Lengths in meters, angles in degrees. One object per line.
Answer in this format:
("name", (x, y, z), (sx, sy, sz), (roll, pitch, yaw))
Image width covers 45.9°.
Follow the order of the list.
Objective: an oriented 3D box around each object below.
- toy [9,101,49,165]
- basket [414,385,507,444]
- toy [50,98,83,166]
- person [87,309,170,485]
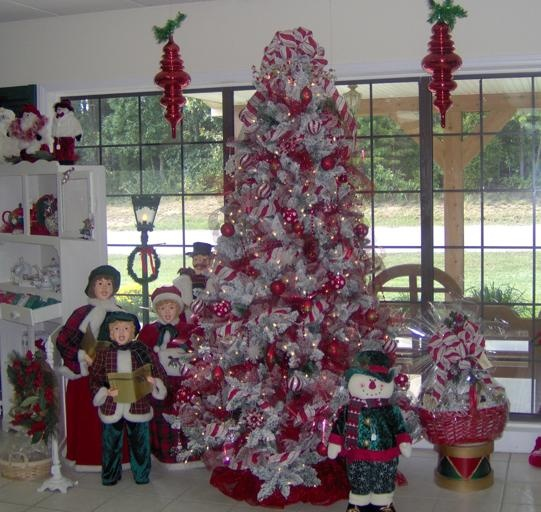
("toy", (-1.595, -0.819, 4.263), (0.242, 0.369, 0.229), (-2, 5, -20))
("basket", (1.021, 0.835, 3.420), (0.386, 0.160, 0.320), (-5, 0, -6))
("toy", (-1.335, -0.823, 4.211), (0.185, 0.447, 0.191), (-2, 4, -18))
("person", (-0.796, 0.798, 3.622), (0.417, 0.976, 0.231), (-2, 4, -18))
